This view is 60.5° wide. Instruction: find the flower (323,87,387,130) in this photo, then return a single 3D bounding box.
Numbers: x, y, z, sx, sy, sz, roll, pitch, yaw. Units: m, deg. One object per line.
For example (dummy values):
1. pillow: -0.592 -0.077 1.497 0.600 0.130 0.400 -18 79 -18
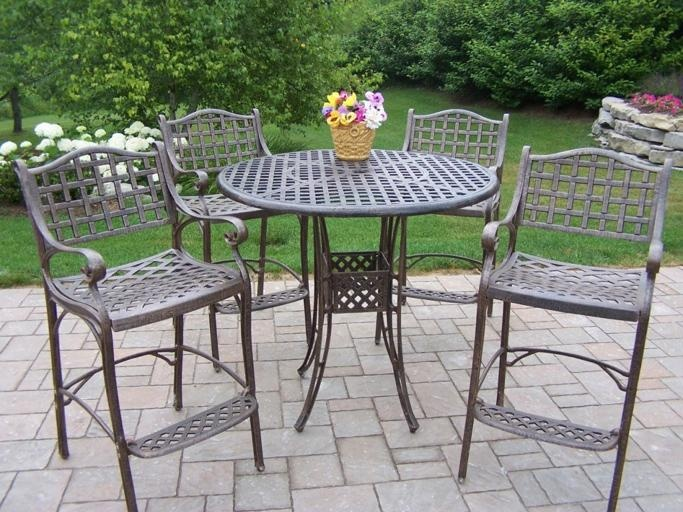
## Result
1. flower: 0.051 -0.748 3.063 0.355 0.129 0.343 13 21 17
